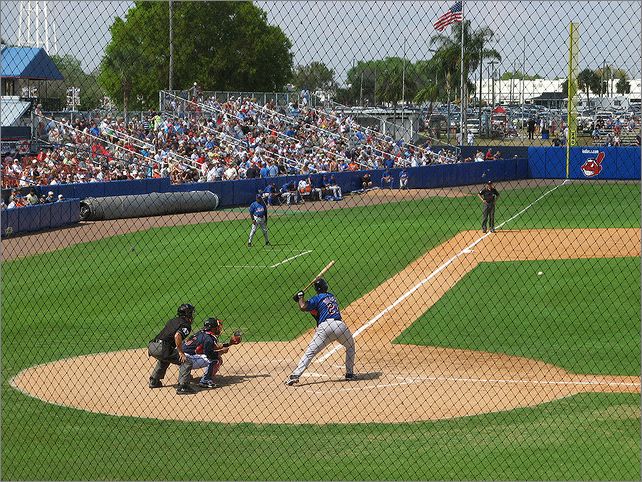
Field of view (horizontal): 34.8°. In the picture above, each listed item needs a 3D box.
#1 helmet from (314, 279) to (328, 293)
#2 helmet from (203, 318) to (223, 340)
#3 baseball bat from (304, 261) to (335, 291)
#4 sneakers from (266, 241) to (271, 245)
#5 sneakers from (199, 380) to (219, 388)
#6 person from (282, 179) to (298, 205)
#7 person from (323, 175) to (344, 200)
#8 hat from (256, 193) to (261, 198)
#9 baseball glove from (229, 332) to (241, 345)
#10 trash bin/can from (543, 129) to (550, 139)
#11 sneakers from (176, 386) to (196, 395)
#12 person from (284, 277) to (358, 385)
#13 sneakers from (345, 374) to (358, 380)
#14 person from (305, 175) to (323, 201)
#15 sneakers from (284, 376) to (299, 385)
[{"bbox_3d":[-0.009,0.869,20.016,0.181,0.314,0.280,4,24,-1],"label":"helmet"},{"bbox_3d":[-2.177,1.715,20.064,0.266,0.437,0.397,9,7,14],"label":"helmet"},{"bbox_3d":[-0.062,0.905,25.836,0.115,0.154,1.177,-24,22,46],"label":"baseball bat"},{"bbox_3d":[-1.744,0.080,33.041,0.097,0.125,0.061,0,-1,-14],"label":"sneakers"},{"bbox_3d":[-2.185,2.767,19.533,0.333,0.211,0.153,3,7,-3],"label":"sneakers"},{"bbox_3d":[-1.318,-2.027,42.605,0.695,1.262,0.797,3,8,22],"label":"person"},{"bbox_3d":[0.500,-2.422,45.371,0.826,0.935,1.845,0,13,0],"label":"person"},{"bbox_3d":[-1.996,-1.453,32.440,0.110,0.079,0.126,1,8,14],"label":"hat"},{"bbox_3d":[-1.673,1.940,20.002,0.186,0.292,0.085,11,-15,36],"label":"baseball glove"},{"bbox_3d":[4.435,-2.115,20.088,0.172,0.228,0.150,2,9,11],"label":"trash bin/can"},{"bbox_3d":[-2.586,2.822,19.363,0.342,0.283,0.153,-1,5,-5],"label":"sneakers"},{"bbox_3d":[-0.029,1.987,21.546,1.252,1.989,0.952,-6,15,-6],"label":"person"},{"bbox_3d":[0.587,2.666,19.922,0.234,0.132,0.090,-1,6,19],"label":"sneakers"},{"bbox_3d":[-0.299,-2.330,44.317,0.509,0.954,1.165,7,14,31],"label":"person"},{"bbox_3d":[-0.571,2.695,19.558,0.255,0.219,0.156,0,11,-3],"label":"sneakers"}]
